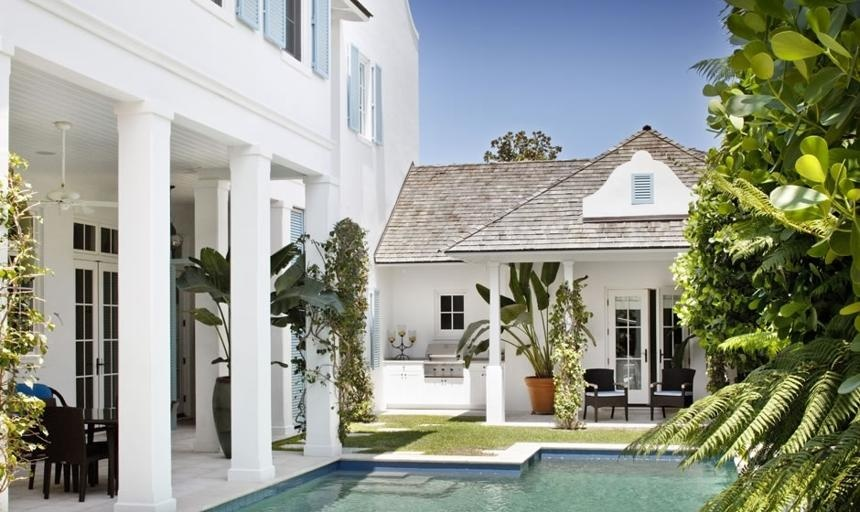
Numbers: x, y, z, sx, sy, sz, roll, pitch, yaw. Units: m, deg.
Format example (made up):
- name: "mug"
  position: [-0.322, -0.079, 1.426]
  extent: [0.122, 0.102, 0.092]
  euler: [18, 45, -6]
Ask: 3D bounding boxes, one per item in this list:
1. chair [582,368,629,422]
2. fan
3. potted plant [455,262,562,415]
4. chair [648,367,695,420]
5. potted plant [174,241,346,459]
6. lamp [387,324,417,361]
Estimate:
- name: "chair"
  position: [3.636, 2.837, 15.969]
  extent: [0.976, 1.027, 0.933]
  euler: [5, -8, -37]
- name: "fan"
  position: [-4.856, -1.186, 10.265]
  extent: [1.086, 1.048, 1.148]
  euler: [1, 10, -27]
- name: "potted plant"
  position: [1.919, 1.798, 17.465]
  extent: [1.959, 3.327, 1.407]
  euler: [1, -2, 10]
- name: "chair"
  position: [4.998, 2.804, 15.799]
  extent: [0.971, 1.004, 0.957]
  euler: [2, -7, -10]
- name: "potted plant"
  position: [-2.782, 1.544, 12.331]
  extent: [3.230, 3.095, 3.158]
  euler: [3, -4, -17]
- name: "lamp"
  position: [-0.689, 2.068, 18.631]
  extent: [0.706, 0.803, 0.469]
  euler: [1, -2, 0]
